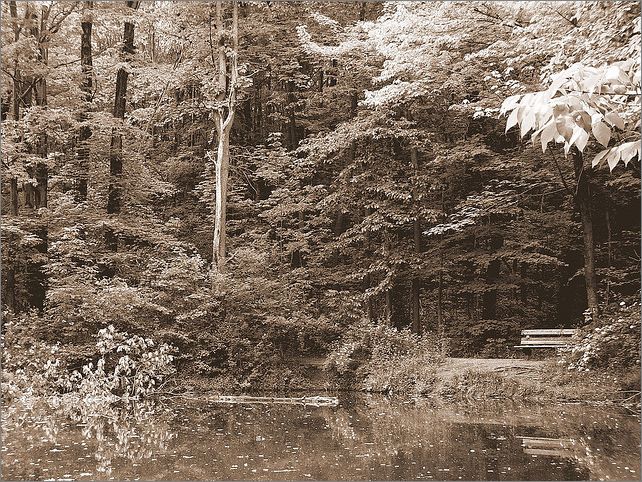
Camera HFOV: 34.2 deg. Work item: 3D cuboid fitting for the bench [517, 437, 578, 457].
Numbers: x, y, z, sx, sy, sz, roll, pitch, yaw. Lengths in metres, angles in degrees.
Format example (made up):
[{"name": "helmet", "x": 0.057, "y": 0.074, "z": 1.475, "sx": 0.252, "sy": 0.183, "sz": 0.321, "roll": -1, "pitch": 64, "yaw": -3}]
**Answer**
[{"name": "bench", "x": 5.555, "y": 5.084, "z": 25.804, "sx": 1.220, "sy": 0.364, "sz": 1.018, "roll": -3, "pitch": -4, "yaw": 10}]
